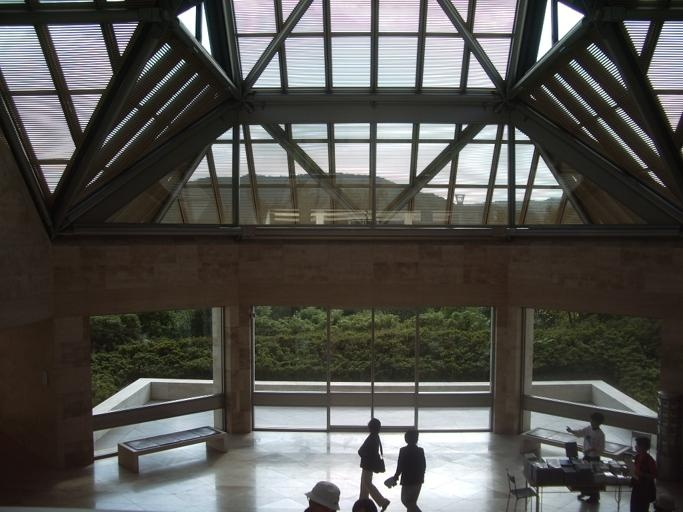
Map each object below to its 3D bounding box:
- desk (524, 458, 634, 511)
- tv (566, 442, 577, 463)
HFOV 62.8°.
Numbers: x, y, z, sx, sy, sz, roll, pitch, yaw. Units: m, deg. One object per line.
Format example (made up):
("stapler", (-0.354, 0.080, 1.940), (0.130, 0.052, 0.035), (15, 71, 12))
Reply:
("desk", (5.210, 5.088, 12.348), (1.565, 0.844, 0.893), (1, 9, 3))
("tv", (5.163, 4.381, 12.522), (0.328, 0.466, 0.112), (-4, -9, 27))
